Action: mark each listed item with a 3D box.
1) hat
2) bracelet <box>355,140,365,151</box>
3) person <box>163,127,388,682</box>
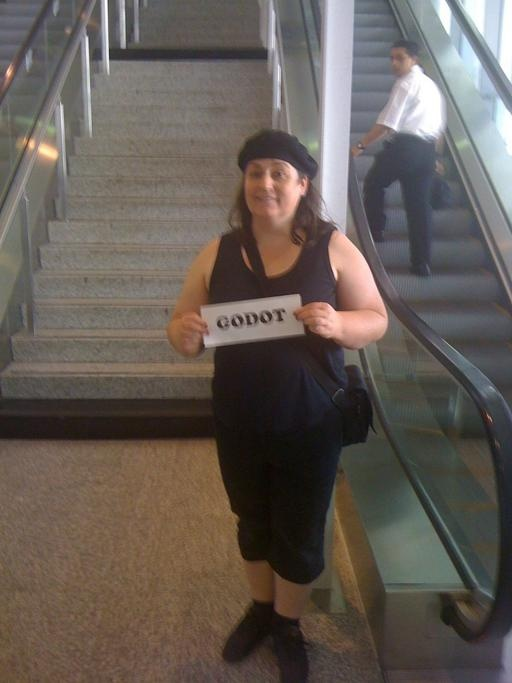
[{"bbox_3d":[0.052,-0.387,1.205,0.112,0.041,0.113,28,-5,-37],"label":"hat"},{"bbox_3d":[0.476,-0.893,2.623,0.042,0.035,0.057,5,-11,5],"label":"bracelet"},{"bbox_3d":[0.011,0.219,1.375,0.495,1.317,0.480,10,32,14],"label":"person"}]
